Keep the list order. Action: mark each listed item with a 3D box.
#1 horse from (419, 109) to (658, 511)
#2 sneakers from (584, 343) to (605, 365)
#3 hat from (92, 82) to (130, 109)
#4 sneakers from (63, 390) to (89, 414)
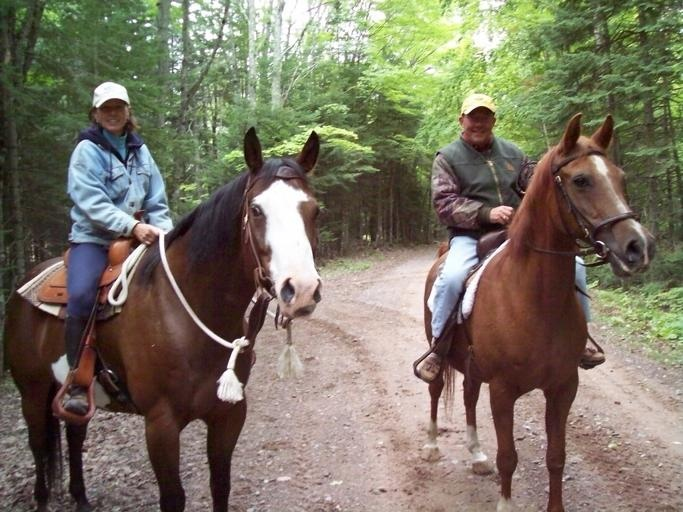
[{"bbox_3d":[2.259,0.641,6.639,1.868,4.190,0.962,-4,8,13],"label":"horse"},{"bbox_3d":[2.940,1.175,7.208,0.190,0.184,0.375,-2,-12,-7],"label":"sneakers"},{"bbox_3d":[-2.604,-1.802,6.846,0.304,0.218,0.404,-6,6,-21],"label":"hat"},{"bbox_3d":[-2.690,1.486,6.192,0.228,0.240,0.249,-10,9,-26],"label":"sneakers"}]
